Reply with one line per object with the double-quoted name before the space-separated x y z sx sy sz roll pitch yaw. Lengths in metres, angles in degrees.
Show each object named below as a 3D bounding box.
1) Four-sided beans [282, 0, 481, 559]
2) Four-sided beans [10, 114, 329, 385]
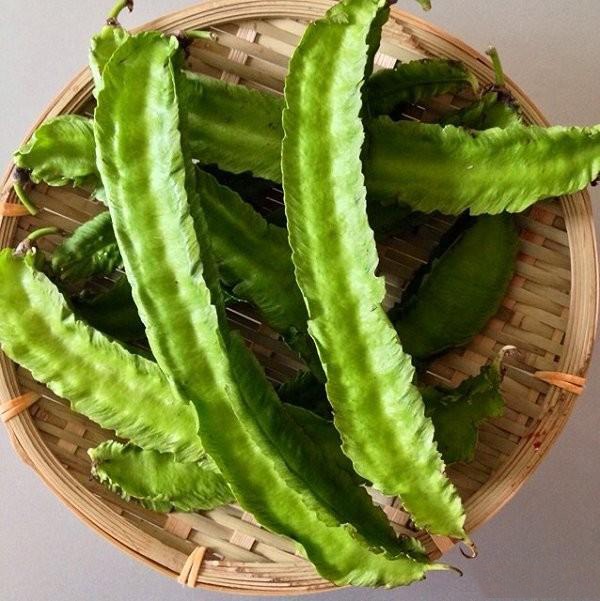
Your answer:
"Four-sided beans" 0.102 -0.037 1.044 0.199 0.832 0.128 -8 -1 4
"Four-sided beans" -0.200 -0.129 1.147 0.191 0.614 0.124 -37 6 -17
